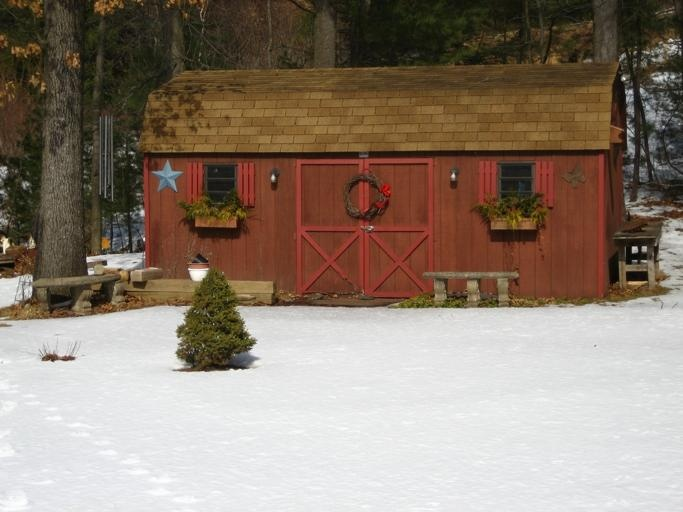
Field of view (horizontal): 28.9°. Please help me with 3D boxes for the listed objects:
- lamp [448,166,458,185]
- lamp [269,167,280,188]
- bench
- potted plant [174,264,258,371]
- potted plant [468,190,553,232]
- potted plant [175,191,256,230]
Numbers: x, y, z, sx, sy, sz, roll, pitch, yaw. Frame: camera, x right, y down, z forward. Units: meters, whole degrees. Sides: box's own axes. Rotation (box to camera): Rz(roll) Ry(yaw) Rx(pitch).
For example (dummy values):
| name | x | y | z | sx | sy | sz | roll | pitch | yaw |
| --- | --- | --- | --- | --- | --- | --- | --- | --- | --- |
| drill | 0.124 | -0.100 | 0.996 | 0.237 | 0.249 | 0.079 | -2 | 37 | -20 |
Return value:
| name | x | y | z | sx | sy | sz | roll | pitch | yaw |
| --- | --- | --- | --- | --- | --- | --- | --- | --- | --- |
| lamp | 2.618 | -1.856 | 31.003 | 0.229 | 0.372 | 0.185 | -3 | 1 | 2 |
| lamp | -1.598 | -1.829 | 31.431 | 0.239 | 0.389 | 0.212 | 2 | 10 | 1 |
| bench | 3.022 | 0.718 | 30.607 | 2.130 | 0.714 | 1.653 | -3 | 1 | 8 |
| potted plant | -2.438 | 1.128 | 25.584 | 1.860 | 2.114 | 1.744 | -1 | 1 | -14 |
| potted plant | 3.981 | -1.018 | 30.736 | 1.688 | 0.751 | 0.462 | -3 | 1 | 9 |
| potted plant | -3.001 | -1.053 | 31.556 | 1.512 | 0.836 | 0.446 | -3 | 1 | -4 |
